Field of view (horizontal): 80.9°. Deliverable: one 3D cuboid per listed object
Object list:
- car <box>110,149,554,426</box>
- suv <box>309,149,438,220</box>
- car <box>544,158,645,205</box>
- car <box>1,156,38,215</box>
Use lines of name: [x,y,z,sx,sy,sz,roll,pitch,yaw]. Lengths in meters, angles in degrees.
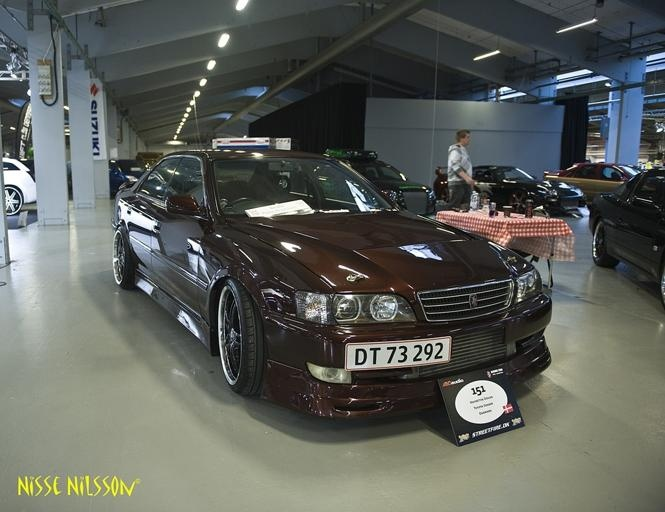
car: [-0.608,-0.127,3.384,1.607,1.549,4.245,-9,14,-39]
suv: [1.254,-2.022,10.365,1.779,1.298,3.966,-1,10,-28]
car: [9.726,-2.887,14.352,4.071,1.223,1.653,5,32,5]
car: [-8.448,-1.858,10.450,0.677,1.508,1.006,-8,15,-37]
